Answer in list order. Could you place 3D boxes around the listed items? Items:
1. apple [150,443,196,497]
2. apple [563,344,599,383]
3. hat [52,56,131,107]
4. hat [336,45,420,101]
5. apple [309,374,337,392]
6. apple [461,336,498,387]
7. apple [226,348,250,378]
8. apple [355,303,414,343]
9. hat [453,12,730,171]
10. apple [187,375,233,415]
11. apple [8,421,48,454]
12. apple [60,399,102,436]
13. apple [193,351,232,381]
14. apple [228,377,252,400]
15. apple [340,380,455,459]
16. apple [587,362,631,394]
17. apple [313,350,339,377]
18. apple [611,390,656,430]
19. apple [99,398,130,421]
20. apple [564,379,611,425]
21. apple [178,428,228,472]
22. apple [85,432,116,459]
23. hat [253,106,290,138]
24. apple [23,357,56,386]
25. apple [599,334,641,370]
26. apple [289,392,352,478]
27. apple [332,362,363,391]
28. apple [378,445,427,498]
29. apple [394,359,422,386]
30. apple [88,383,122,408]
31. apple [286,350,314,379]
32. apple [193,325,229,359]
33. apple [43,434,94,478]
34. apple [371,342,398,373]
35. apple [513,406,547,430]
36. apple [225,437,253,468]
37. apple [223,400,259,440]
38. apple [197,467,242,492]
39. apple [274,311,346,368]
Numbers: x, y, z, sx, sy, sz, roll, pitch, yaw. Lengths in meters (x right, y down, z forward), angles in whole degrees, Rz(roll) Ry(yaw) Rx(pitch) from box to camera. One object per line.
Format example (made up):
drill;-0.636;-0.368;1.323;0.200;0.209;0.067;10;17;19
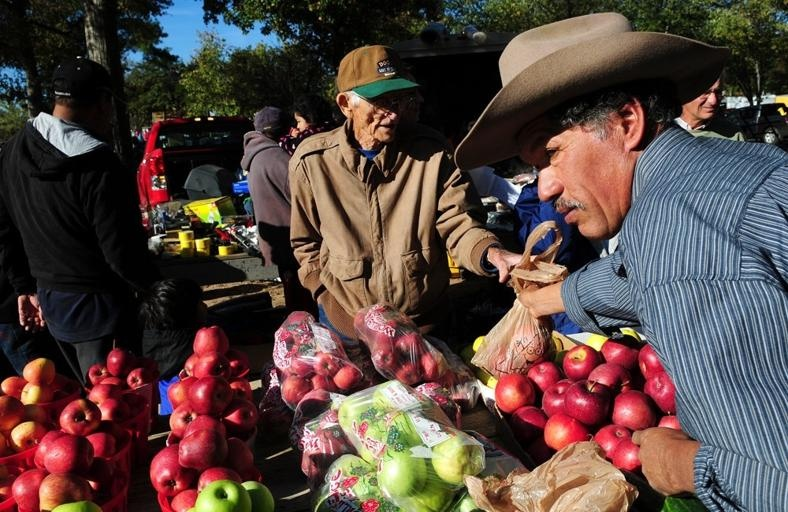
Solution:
apple;-0.950;0.913;2.439;0.146;0.178;0.155;5;-4;-12
apple;1.028;0.572;3.116;0.169;0.185;0.181;-13;15;-9
hat;-2.126;-1.214;4.040;0.325;0.274;0.458;8;19;17
hat;-0.116;-1.149;3.612;0.451;0.308;0.589;-21;22;-40
apple;-0.352;0.630;2.844;0.085;0.108;0.088;2;10;15
apple;0.479;0.620;3.284;0.080;0.224;0.227;-37;35;32
apple;-0.825;0.581;3.026;0.130;0.157;0.130;-9;7;-32
apple;-0.055;0.353;3.075;0.198;0.133;0.252;12;0;-30
hat;0.729;-0.745;2.191;0.776;0.301;0.616;-20;-4;11
apple;-0.905;0.666;2.709;0.180;0.201;0.192;-20;-14;37
apple;-1.566;0.768;2.493;0.115;0.119;0.120;-6;16;4
apple;-1.385;0.714;2.518;0.147;0.154;0.145;6;-11;14
apple;-0.897;0.546;2.857;0.136;0.141;0.161;16;-2;-16
apple;-0.756;0.666;2.853;0.099;0.101;0.104;-38;9;-13
apple;0.001;0.670;2.378;0.325;0.153;0.333;-17;38;-12
apple;1.090;0.579;2.900;0.185;0.161;0.156;-14;26;-3
apple;-0.338;0.542;2.876;0.098;0.110;0.105;-3;-1;1
apple;1.113;0.719;2.731;0.161;0.170;0.199;-8;14;-5
apple;-1.270;0.700;2.596;0.095;0.101;0.098;11;17;38
apple;0.948;0.715;2.798;0.204;0.201;0.200;3;10;-39
apple;-0.810;0.824;2.444;0.208;0.171;0.152;1;-8;-34
apple;-1.236;0.801;2.428;0.122;0.102;0.100;9;21;-8
hat;-1.362;-1.465;6.178;0.328;0.284;0.451;-8;12;-10
apple;-1.752;0.556;2.823;0.140;0.140;0.137;2;-1;8
apple;1.198;0.514;3.027;0.184;0.190;0.199;20;11;28
apple;-0.327;0.793;2.628;0.142;0.261;0.357;25;20;-25
apple;-0.225;0.620;2.893;0.113;0.115;0.139;23;44;-14
apple;0.041;0.845;2.266;0.162;0.164;0.191;-21;31;12
apple;0.077;0.597;2.956;0.112;0.122;0.120;9;10;11
apple;-1.354;0.648;2.682;0.108;0.101;0.103;-19;-12;-43
apple;-0.456;0.558;2.903;0.104;0.130;0.107;-6;28;17
apple;-0.947;0.442;2.994;0.146;0.179;0.154;1;5;8
apple;-1.290;0.793;2.308;0.149;0.157;0.154;3;-1;-7
apple;-0.026;0.521;2.939;0.127;0.139;0.132;-17;29;12
apple;0.662;0.797;2.804;0.130;0.110;0.110;-31;36;25
apple;-0.668;0.848;2.499;0.104;0.115;0.109;-6;5;-9
apple;-0.732;0.774;2.749;0.155;0.195;0.160;-2;-10;-12
apple;-0.715;0.899;2.350;0.111;0.123;0.114;-23;-10;39
apple;-0.485;0.425;3.030;0.247;0.331;0.199;-5;13;-11
